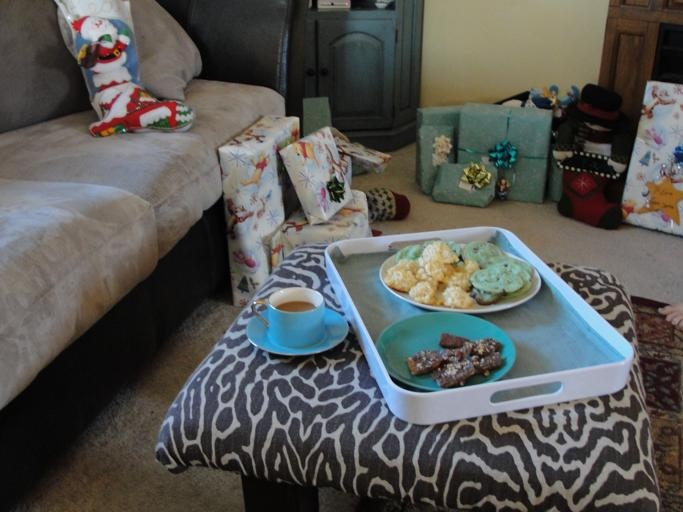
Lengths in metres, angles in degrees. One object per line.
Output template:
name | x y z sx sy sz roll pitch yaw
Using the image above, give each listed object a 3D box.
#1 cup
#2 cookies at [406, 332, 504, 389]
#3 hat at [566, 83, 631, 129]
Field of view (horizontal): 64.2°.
cup | -0.114 0.133 1.162 0.130 0.099 0.106 1 21 -3
cookies | 0.227 0.204 1.059 0.108 0.018 0.115 -4 28 4
hat | 1.168 -0.678 2.475 0.222 0.124 0.216 20 55 29
